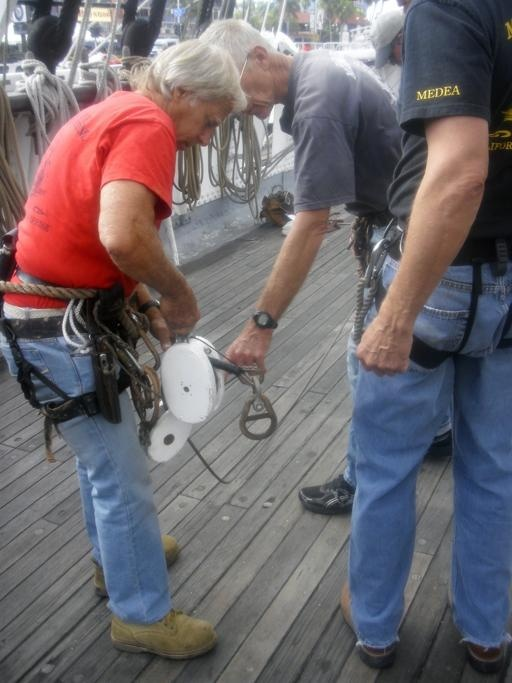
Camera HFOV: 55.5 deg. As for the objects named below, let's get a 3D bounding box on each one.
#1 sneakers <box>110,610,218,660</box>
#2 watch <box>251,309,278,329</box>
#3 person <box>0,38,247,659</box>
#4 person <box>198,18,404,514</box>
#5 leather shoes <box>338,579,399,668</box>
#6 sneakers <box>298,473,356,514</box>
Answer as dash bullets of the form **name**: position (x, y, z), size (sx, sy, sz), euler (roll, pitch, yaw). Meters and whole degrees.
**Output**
- **sneakers**: position (-0.239, 0.805, 1.400), size (0.295, 0.148, 0.124), euler (0, 11, 3)
- **watch**: position (0.026, -0.058, 1.401), size (0.057, 0.048, 0.058), euler (5, 15, -3)
- **person**: position (-0.351, 0.087, 1.323), size (0.583, 1.560, 0.540), euler (8, 26, 23)
- **person**: position (0.221, -0.481, 2.336), size (0.902, 2.141, 1.055), euler (-2, 6, 9)
- **leather shoes**: position (0.296, 0.766, 1.389), size (0.095, 0.099, 0.281), euler (-4, 27, -2)
- **sneakers**: position (0.285, 0.594, 1.920), size (0.255, 0.124, 0.099), euler (-1, 42, 22)
